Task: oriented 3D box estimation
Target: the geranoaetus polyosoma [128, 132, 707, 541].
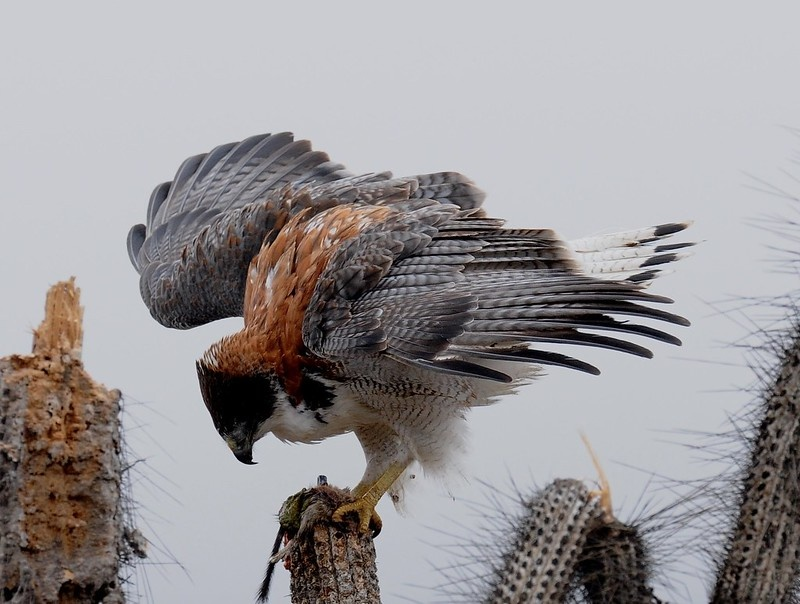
[{"bbox_3d":[-0.090,0.055,7.315,2.175,2.891,0.905,-17,-68,-18],"label":"geranoaetus polyosoma"}]
